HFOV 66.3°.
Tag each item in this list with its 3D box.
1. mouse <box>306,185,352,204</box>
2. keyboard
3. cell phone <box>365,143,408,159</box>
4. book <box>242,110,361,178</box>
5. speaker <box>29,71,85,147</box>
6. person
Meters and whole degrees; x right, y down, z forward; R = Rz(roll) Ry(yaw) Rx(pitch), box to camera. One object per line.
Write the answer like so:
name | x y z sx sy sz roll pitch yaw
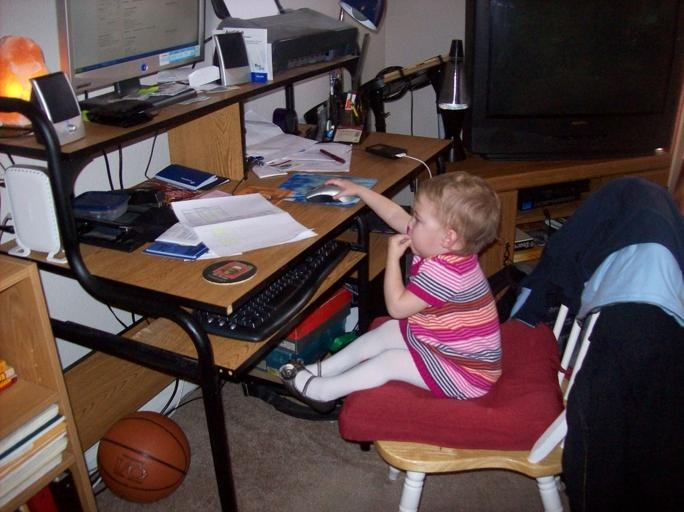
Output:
mouse | -0.044 -0.195 1.701 0.114 0.035 0.067 3 15 1
keyboard | -0.184 0.122 1.483 0.244 0.091 0.536 14 36 28
cell phone | 0.173 -0.419 2.095 0.134 0.022 0.075 19 30 34
book | -0.193 -0.397 2.064 0.357 0.117 0.335 12 32 11
speaker | -0.721 -0.388 1.387 0.104 0.168 0.090 -6 29 17
person | 0.270 0.030 1.735 0.829 0.796 0.563 1 22 1
